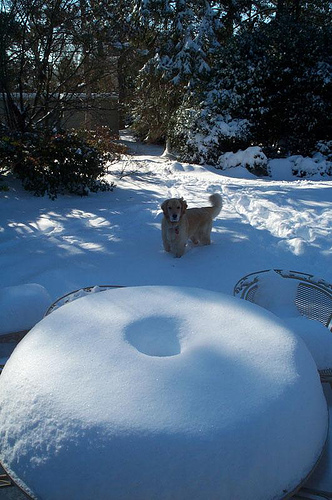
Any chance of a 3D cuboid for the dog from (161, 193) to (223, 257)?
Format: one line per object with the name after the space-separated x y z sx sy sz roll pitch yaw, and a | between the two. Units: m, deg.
0.348 -0.371 6.268 0.459 0.852 1.419 13 18 34 | dog
